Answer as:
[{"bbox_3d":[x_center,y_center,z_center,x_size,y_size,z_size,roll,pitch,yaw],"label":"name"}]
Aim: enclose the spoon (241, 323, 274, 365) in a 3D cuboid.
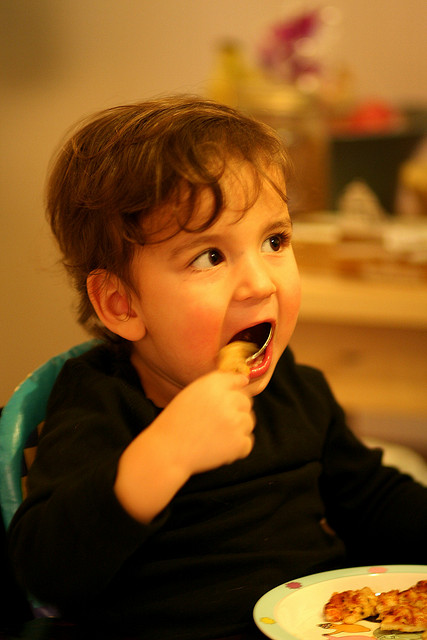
[{"bbox_3d":[0.055,0.030,0.675,0.035,0.044,0.010,23,-7,43],"label":"spoon"}]
